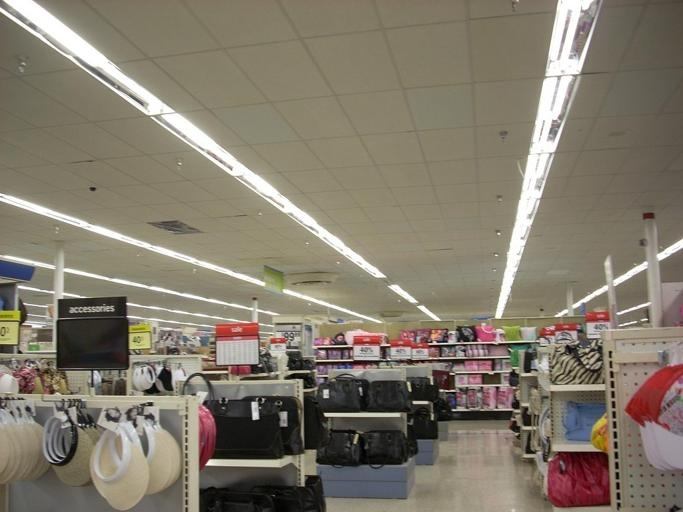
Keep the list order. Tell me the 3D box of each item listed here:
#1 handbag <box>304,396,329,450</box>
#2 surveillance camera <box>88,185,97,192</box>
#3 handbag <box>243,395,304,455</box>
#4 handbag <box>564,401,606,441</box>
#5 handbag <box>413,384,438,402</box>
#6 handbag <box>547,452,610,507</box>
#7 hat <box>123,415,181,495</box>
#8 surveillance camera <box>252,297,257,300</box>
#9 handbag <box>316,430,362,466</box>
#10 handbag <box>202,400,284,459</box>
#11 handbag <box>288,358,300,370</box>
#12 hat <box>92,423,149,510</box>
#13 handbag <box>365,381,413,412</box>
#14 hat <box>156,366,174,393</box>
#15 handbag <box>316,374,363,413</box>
[{"bbox_3d":[-0.230,1.530,4.762,0.173,0.498,0.357,-3,-14,7],"label":"handbag"},{"bbox_3d":[-4.163,-1.118,8.741,0.096,0.055,0.091,-6,-6,23],"label":"surveillance camera"},{"bbox_3d":[-0.574,1.408,4.313,0.519,0.396,0.252,-2,-22,3],"label":"handbag"},{"bbox_3d":[2.309,1.583,5.016,0.398,0.317,0.128,1,-25,9],"label":"handbag"},{"bbox_3d":[1.475,2.349,9.073,0.492,0.198,0.608,-1,-9,10],"label":"handbag"},{"bbox_3d":[2.209,2.071,4.844,0.563,0.441,0.323,-4,-14,15],"label":"handbag"},{"bbox_3d":[-0.908,0.999,2.727,0.319,0.372,0.097,-22,-5,26],"label":"hat"},{"bbox_3d":[-3.644,1.807,22.058,0.189,0.096,0.174,0,-2,17],"label":"surveillance camera"},{"bbox_3d":[0.016,2.437,6.649,0.669,0.397,0.355,-14,-19,41],"label":"handbag"},{"bbox_3d":[-0.807,1.420,4.412,0.767,0.437,0.264,-7,-4,24],"label":"handbag"},{"bbox_3d":[-0.842,1.986,9.515,0.176,0.135,0.172,-10,-12,32],"label":"handbag"},{"bbox_3d":[-1.043,1.019,2.658,0.395,0.403,0.147,-11,-12,27],"label":"hat"},{"bbox_3d":[0.587,1.780,6.591,0.539,0.296,0.403,0,-5,8],"label":"handbag"},{"bbox_3d":[-1.708,1.210,5.119,0.113,0.248,0.399,1,-13,-8],"label":"hat"},{"bbox_3d":[0.022,1.780,6.766,0.701,0.476,0.293,-12,-18,33],"label":"handbag"}]
